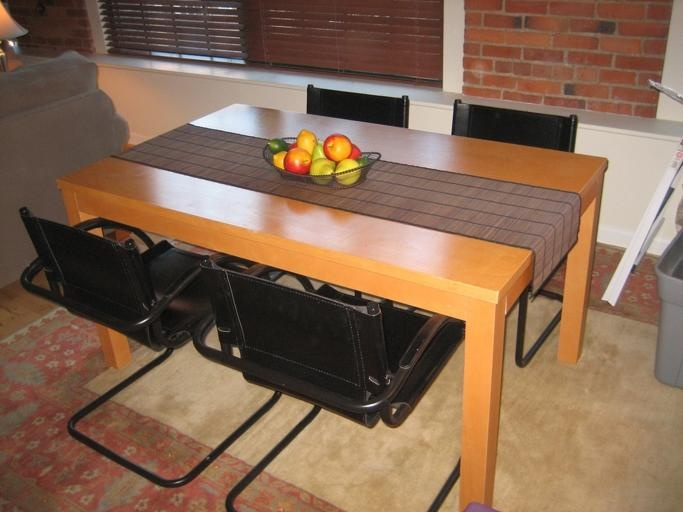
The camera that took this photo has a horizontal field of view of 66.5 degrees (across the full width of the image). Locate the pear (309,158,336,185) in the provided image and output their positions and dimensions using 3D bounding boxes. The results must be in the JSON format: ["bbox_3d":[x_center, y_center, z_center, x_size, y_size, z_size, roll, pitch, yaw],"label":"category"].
[{"bbox_3d":[-0.072,-0.317,1.926,0.078,0.092,0.046,4,7,7],"label":"pear"}]

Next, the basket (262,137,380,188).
[{"bbox_3d":[-0.114,-0.336,1.998,0.360,0.068,0.253,16,41,24],"label":"basket"}]

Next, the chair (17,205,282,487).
[{"bbox_3d":[-0.759,0.268,2.277,0.798,1.032,0.897,13,26,19],"label":"chair"}]

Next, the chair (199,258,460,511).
[{"bbox_3d":[-0.035,0.470,1.822,0.559,0.774,0.619,17,42,25],"label":"chair"}]

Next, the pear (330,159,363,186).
[{"bbox_3d":[0.024,-0.306,1.903,0.085,0.076,0.100,-3,19,-2],"label":"pear"}]

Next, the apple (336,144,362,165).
[{"bbox_3d":[0.027,-0.400,2.011,0.087,0.081,0.082,1,39,-5],"label":"apple"}]

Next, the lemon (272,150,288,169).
[{"bbox_3d":[-0.230,-0.372,2.041,0.072,0.069,0.081,-2,39,5],"label":"lemon"}]
